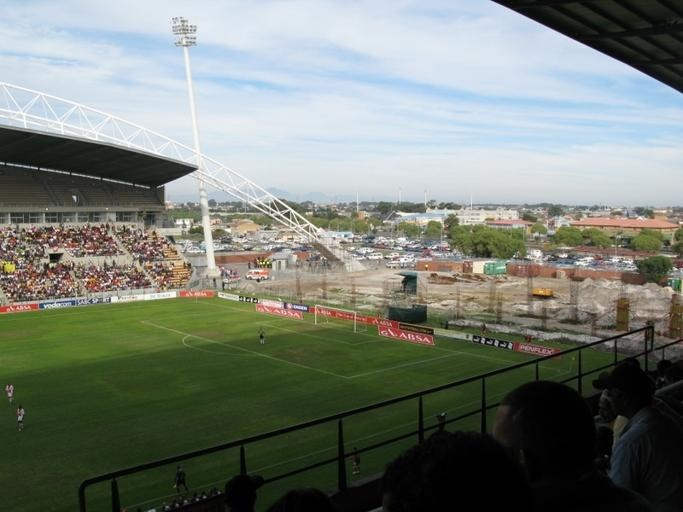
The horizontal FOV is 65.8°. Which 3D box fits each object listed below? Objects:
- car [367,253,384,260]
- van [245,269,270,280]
[{"bbox_3d":[6.627,-0.013,104.654,2.760,0.723,1.367,2,2,21],"label":"car"},{"bbox_3d":[-12.242,2.676,75.626,3.328,0.956,1.503,1,0,4],"label":"van"}]
